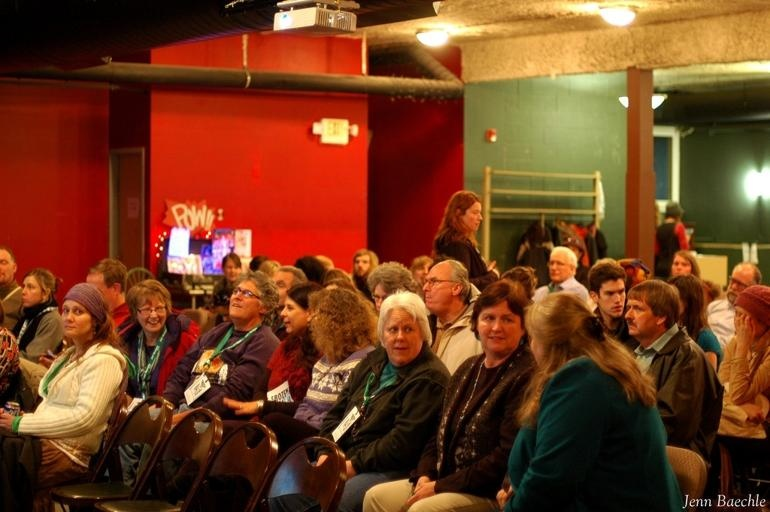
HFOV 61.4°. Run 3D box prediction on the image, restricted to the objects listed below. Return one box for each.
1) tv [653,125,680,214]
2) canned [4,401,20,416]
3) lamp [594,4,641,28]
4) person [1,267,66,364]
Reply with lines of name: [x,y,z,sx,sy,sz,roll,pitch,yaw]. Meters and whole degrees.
tv: [3.752,-1.183,8.681,0.056,1.311,1.203,-4,-7,33]
canned: [-2.352,0.949,4.104,0.089,0.086,0.088,7,2,-3]
lamp: [2.514,-2.585,6.964,0.426,0.098,0.299,0,-1,7]
person: [-3.360,0.619,6.151,0.664,0.966,0.556,5,6,21]
